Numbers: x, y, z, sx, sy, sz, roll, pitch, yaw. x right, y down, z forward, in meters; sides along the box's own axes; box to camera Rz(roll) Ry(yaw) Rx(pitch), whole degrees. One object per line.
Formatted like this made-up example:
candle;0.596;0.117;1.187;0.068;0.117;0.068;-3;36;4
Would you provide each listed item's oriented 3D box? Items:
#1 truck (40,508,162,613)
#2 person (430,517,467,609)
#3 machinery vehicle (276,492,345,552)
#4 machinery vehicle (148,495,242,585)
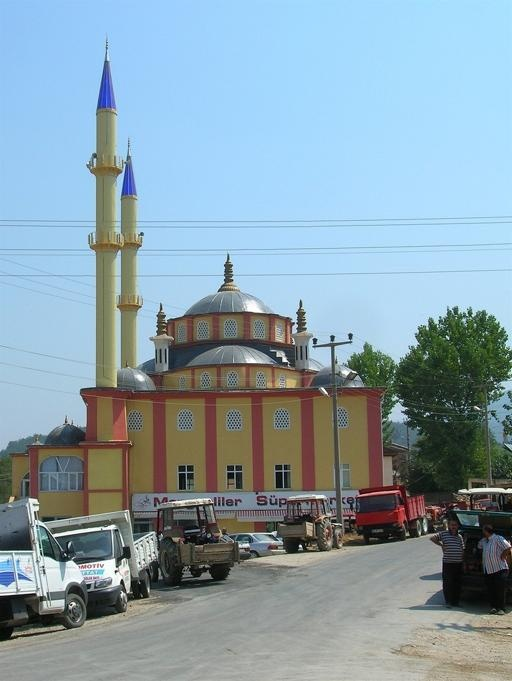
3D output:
truck;-3.235;4.561;18.177;1.544;1.443;3.167;-7;-16;2
person;3.434;3.912;15.208;0.548;1.413;0.935;-6;-9;9
machinery vehicle;1.882;6.555;31.173;1.566;1.762;3.457;-3;-6;19
machinery vehicle;-1.522;5.202;22.458;1.526;1.638;2.708;-2;-2;-24
